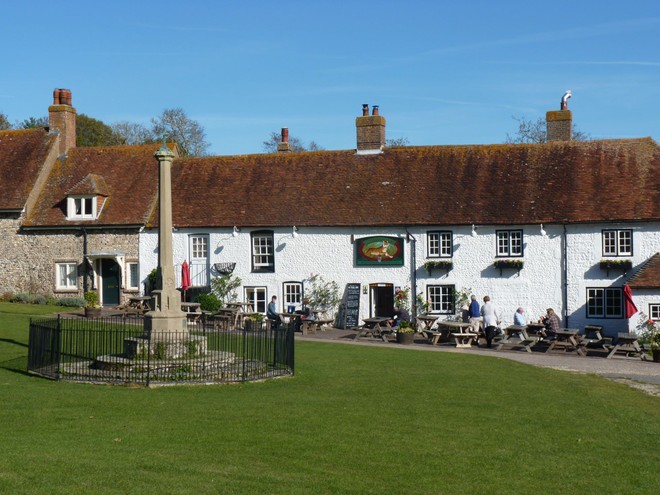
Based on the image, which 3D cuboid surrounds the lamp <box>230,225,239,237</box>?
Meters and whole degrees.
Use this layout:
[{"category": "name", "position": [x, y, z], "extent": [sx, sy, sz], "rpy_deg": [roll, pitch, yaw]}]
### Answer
[{"category": "lamp", "position": [-4.677, -0.768, 46.292], "extent": [0.361, 0.506, 0.433], "rpy_deg": [3, 11, -4]}]

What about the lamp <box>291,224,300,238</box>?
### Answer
[{"category": "lamp", "position": [-1.739, -0.750, 45.777], "extent": [0.336, 0.658, 0.339], "rpy_deg": [3, 11, -1]}]

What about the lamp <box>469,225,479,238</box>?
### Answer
[{"category": "lamp", "position": [6.629, -0.730, 43.730], "extent": [0.371, 0.603, 0.264], "rpy_deg": [5, 11, 7]}]
